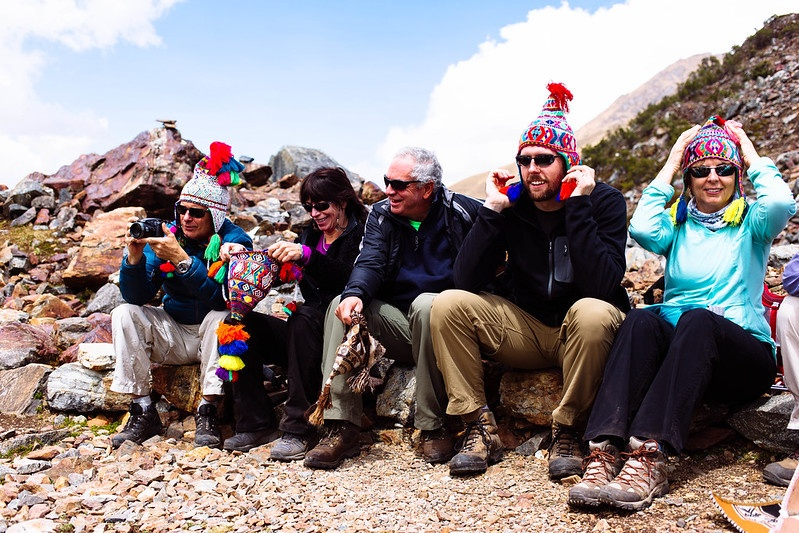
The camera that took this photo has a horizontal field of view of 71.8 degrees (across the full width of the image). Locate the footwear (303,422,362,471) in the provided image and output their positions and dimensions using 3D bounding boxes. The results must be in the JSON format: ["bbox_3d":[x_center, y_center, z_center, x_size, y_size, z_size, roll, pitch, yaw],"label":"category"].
[{"bbox_3d":[-0.615,1.617,5.083,0.236,0.417,0.636,-7,-6,32],"label":"footwear"}]

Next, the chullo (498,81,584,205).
[{"bbox_3d":[1.426,-1.205,5.182,0.828,0.963,0.742,12,29,41],"label":"chullo"}]

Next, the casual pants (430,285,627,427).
[{"bbox_3d":[1.220,0.709,5.125,1.653,0.978,1.922,-4,3,21],"label":"casual pants"}]

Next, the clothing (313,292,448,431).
[{"bbox_3d":[-0.189,0.868,5.163,1.411,1.303,0.734,-2,-11,23],"label":"clothing"}]

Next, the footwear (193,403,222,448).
[{"bbox_3d":[-1.852,1.549,5.325,0.232,0.381,0.282,-2,9,-19],"label":"footwear"}]

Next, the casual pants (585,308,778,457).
[{"bbox_3d":[2.148,0.787,4.481,1.649,0.814,0.916,-17,12,-28],"label":"casual pants"}]

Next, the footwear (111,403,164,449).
[{"bbox_3d":[-2.588,1.555,5.397,0.238,0.306,0.696,-2,2,6],"label":"footwear"}]

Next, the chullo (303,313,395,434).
[{"bbox_3d":[-0.444,1.016,5.182,0.686,1.016,0.492,33,-1,28],"label":"chullo"}]

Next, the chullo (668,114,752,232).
[{"bbox_3d":[2.881,-0.901,5.136,0.682,0.979,0.549,4,11,34],"label":"chullo"}]

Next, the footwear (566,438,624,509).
[{"bbox_3d":[1.474,1.558,4.140,0.266,0.339,0.688,-6,-4,32],"label":"footwear"}]

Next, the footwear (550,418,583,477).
[{"bbox_3d":[1.409,1.569,4.697,0.300,0.348,0.788,-4,-7,21],"label":"footwear"}]

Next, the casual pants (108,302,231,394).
[{"bbox_3d":[-2.135,0.679,5.736,1.190,1.233,0.998,-1,-4,17],"label":"casual pants"}]

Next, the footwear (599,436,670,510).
[{"bbox_3d":[1.763,1.554,4.142,0.860,0.447,0.306,-1,-2,-39],"label":"footwear"}]

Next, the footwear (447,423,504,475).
[{"bbox_3d":[0.668,1.587,4.886,0.324,0.377,0.861,-13,-13,29],"label":"footwear"}]

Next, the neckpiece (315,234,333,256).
[{"bbox_3d":[-0.801,-0.215,5.879,0.168,0.221,0.165,1,3,-6],"label":"neckpiece"}]

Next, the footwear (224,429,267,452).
[{"bbox_3d":[-1.466,1.666,5.268,0.156,0.188,0.439,-5,-11,41],"label":"footwear"}]

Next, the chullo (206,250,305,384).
[{"bbox_3d":[-1.422,0.480,5.407,0.790,1.261,0.332,-4,10,-30],"label":"chullo"}]

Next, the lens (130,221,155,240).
[{"bbox_3d":[-2.489,-0.343,5.306,0.227,0.134,0.169,15,4,36],"label":"lens"}]
